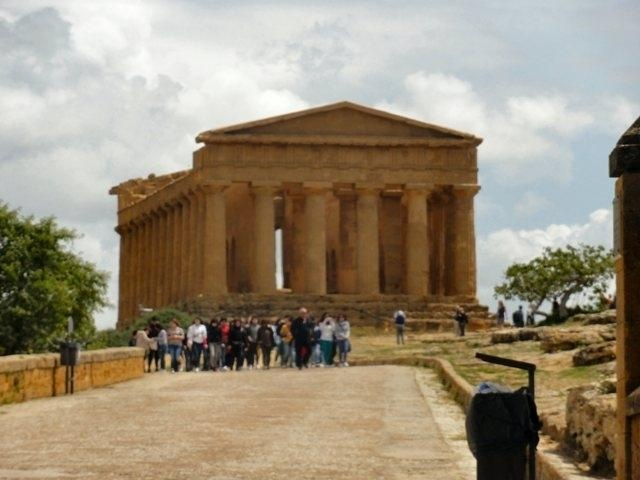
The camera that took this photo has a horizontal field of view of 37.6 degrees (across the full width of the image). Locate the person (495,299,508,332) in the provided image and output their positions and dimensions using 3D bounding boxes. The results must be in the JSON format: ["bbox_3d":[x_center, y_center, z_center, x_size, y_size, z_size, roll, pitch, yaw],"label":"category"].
[{"bbox_3d":[9.135,3.732,47.627,0.407,1.235,1.506,0,-1,11],"label":"person"}]
